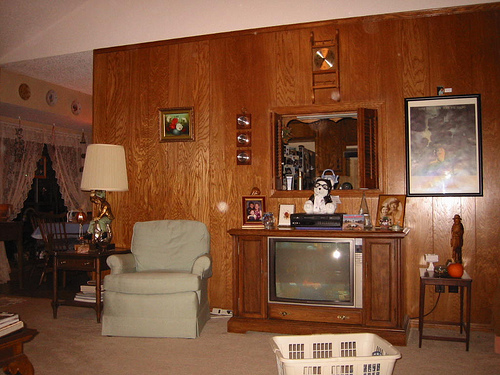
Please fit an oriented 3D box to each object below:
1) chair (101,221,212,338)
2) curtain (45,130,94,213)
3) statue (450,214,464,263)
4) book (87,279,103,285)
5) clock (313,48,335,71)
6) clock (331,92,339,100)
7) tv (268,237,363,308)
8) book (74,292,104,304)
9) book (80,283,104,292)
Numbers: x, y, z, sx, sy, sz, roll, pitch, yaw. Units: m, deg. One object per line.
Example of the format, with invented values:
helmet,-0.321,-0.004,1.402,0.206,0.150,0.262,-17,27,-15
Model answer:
chair,-0.819,0.893,4.482,0.903,1.070,1.074,0,-3,5
curtain,-3.524,-0.406,8.412,0.330,2.328,1.342,3,2,-1
statue,1.885,0.482,3.958,0.103,0.458,0.290,1,4,27
book,-1.636,1.006,4.538,0.115,0.033,0.121,-1,-4,18
clock,0.757,-1.329,4.444,0.212,0.237,0.041,0,4,8
clock,0.868,-0.958,4.462,0.104,0.111,0.059,3,9,20
tv,0.580,0.782,3.951,0.972,0.751,0.569,-1,-3,19
book,-1.664,1.138,4.438,0.213,0.058,0.217,-1,-2,17
book,-1.660,1.059,4.543,0.143,0.038,0.151,0,-1,9
